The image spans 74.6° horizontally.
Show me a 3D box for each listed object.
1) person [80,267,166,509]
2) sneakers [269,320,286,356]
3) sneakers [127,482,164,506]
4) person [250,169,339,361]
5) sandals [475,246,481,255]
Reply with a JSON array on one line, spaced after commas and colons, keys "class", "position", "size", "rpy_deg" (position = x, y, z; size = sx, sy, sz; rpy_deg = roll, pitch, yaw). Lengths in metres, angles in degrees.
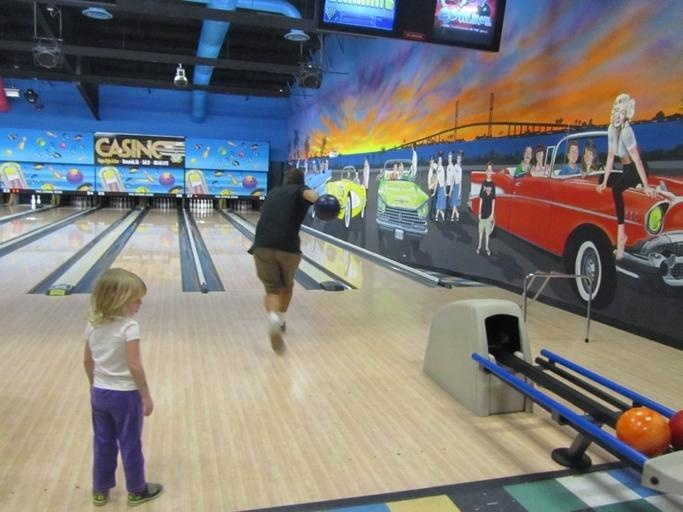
[{"class": "person", "position": [-0.841, 0.492, 1.689], "size": [0.250, 0.883, 0.226], "rpy_deg": [-6, 14, -29]}, {"class": "sneakers", "position": [-0.399, 0.555, 2.814], "size": [0.082, 0.276, 0.113], "rpy_deg": [2, 25, -2]}, {"class": "sneakers", "position": [-0.753, 0.913, 1.726], "size": [0.107, 0.050, 0.047], "rpy_deg": [-6, 10, -42]}, {"class": "person", "position": [-0.367, 0.047, 3.097], "size": [0.599, 1.249, 0.713], "rpy_deg": [-8, 15, -35]}, {"class": "sandals", "position": [1.612, -0.072, 5.284], "size": [0.068, 0.099, 0.235], "rpy_deg": [1, -6, 13]}]
